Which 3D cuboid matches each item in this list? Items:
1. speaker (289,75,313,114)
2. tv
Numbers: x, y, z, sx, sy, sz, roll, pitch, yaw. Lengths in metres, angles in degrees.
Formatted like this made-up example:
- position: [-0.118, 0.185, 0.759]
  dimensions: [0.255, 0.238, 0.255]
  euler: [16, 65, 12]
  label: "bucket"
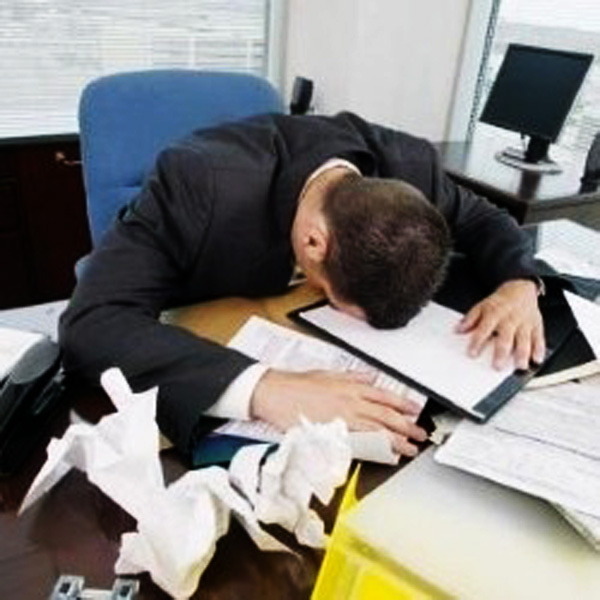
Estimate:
- position: [0.005, -0.701, 1.777]
  dimensions: [0.071, 0.136, 0.240]
  euler: [1, 40, -2]
  label: "speaker"
- position: [0.815, -0.659, 1.756]
  dimensions: [0.199, 0.418, 0.330]
  euler: [-16, 36, -26]
  label: "tv"
